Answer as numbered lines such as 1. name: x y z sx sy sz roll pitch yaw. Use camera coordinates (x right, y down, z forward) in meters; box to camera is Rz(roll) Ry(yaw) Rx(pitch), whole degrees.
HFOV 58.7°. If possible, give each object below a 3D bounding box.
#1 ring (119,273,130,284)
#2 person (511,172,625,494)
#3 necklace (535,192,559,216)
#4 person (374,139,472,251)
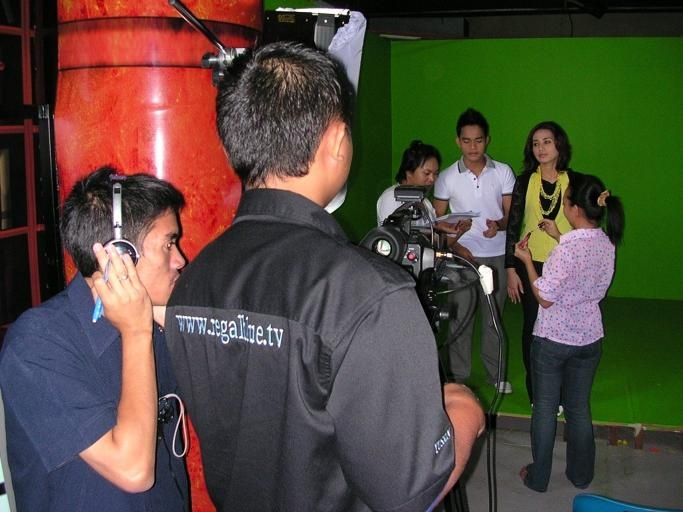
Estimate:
1. ring: -0.599 0.065 1.678 0.015 0.025 0.011 -1 1 -13
2. person: 1.261 0.468 3.348 0.468 1.761 0.315 -5 12 -12
3. necklace: 1.374 -0.334 4.064 0.030 0.142 0.100 9 -2 -37
4. person: 0.547 -0.382 4.259 0.471 0.804 0.561 14 -13 -15
